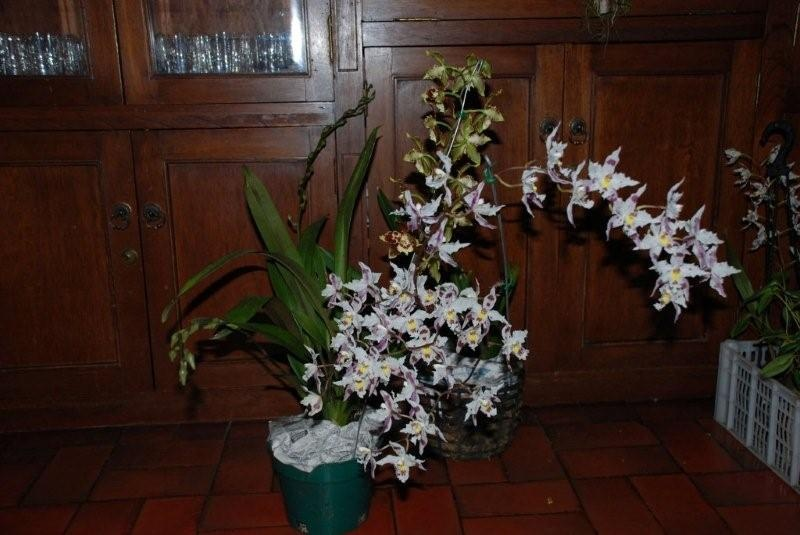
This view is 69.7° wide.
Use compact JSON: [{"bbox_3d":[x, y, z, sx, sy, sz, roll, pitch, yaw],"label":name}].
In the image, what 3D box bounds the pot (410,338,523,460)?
[{"bbox_3d":[0.307,0.544,2.440,0.460,0.476,0.469,1,8,0],"label":"pot"}]
